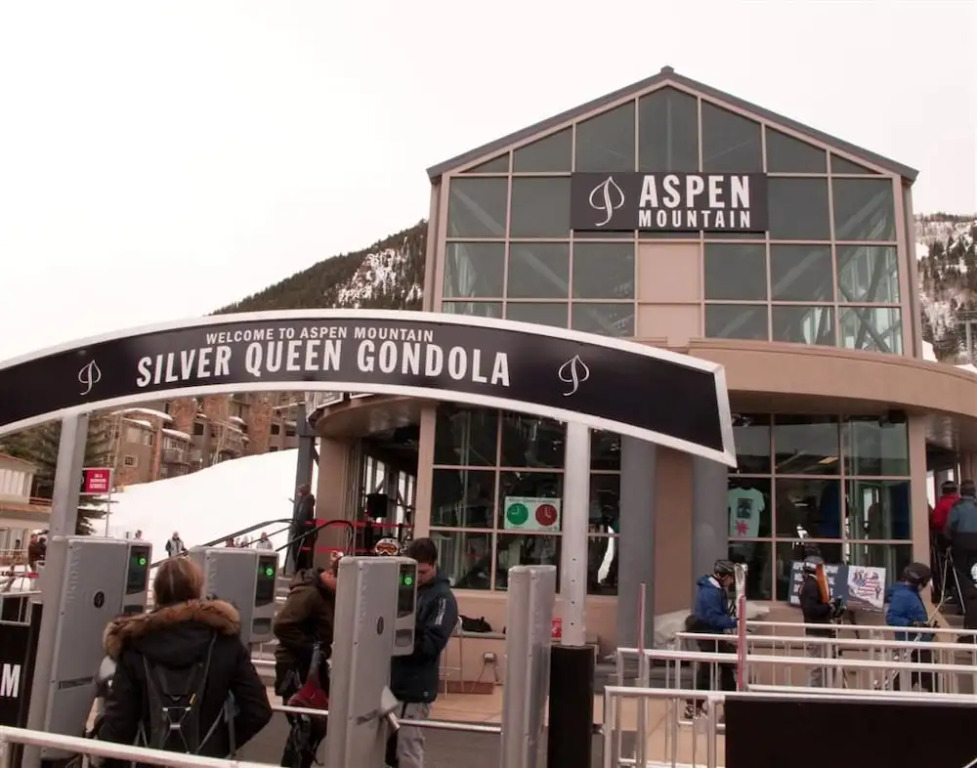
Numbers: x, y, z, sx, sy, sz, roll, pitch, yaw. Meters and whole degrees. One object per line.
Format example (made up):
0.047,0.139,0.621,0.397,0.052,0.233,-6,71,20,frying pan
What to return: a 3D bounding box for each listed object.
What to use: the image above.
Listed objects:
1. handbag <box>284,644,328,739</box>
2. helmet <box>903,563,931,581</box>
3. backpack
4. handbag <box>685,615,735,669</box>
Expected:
-1.448,2.548,6.571,0.232,0.516,0.719,8,-24,-11,handbag
5.388,2.333,9.903,0.268,0.224,0.209,-8,31,-34,helmet
-1.802,1.853,4.570,0.281,0.608,0.355,-1,2,-16,backpack
2.744,3.215,9.981,0.666,0.249,1.034,1,-25,7,handbag
